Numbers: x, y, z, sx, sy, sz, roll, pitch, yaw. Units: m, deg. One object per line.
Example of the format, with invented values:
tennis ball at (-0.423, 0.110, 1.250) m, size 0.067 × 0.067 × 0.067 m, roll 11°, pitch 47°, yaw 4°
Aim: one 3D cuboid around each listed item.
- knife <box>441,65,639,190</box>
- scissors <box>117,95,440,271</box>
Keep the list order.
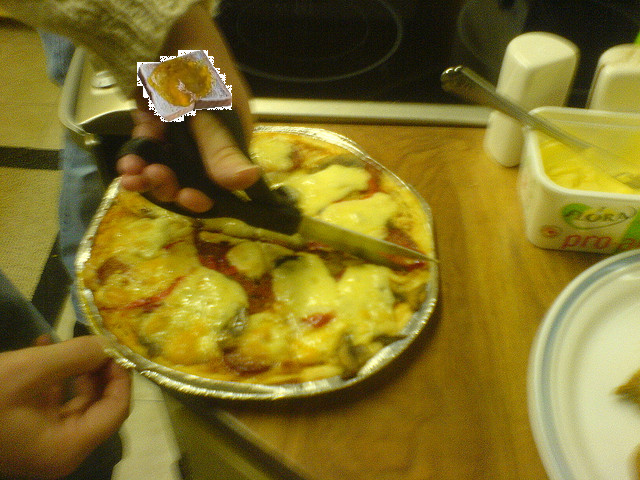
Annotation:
knife at (0.361, -0.178, 0.885) m, size 0.449 × 0.056 × 0.023 m, roll 28°, pitch 44°, yaw -1°
scissors at (-0.085, -0.081, 0.813) m, size 0.562 × 0.076 × 0.182 m, roll 20°, pitch 88°, yaw 4°
